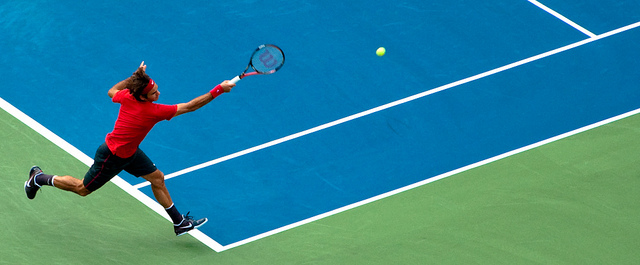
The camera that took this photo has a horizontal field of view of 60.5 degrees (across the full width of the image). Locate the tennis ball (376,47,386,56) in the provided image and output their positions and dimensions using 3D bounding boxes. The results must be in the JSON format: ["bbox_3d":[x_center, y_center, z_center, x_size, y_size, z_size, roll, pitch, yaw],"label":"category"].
[{"bbox_3d":[1.896,-2.500,17.012,0.290,0.248,0.184,-2,23,-37],"label":"tennis ball"}]
